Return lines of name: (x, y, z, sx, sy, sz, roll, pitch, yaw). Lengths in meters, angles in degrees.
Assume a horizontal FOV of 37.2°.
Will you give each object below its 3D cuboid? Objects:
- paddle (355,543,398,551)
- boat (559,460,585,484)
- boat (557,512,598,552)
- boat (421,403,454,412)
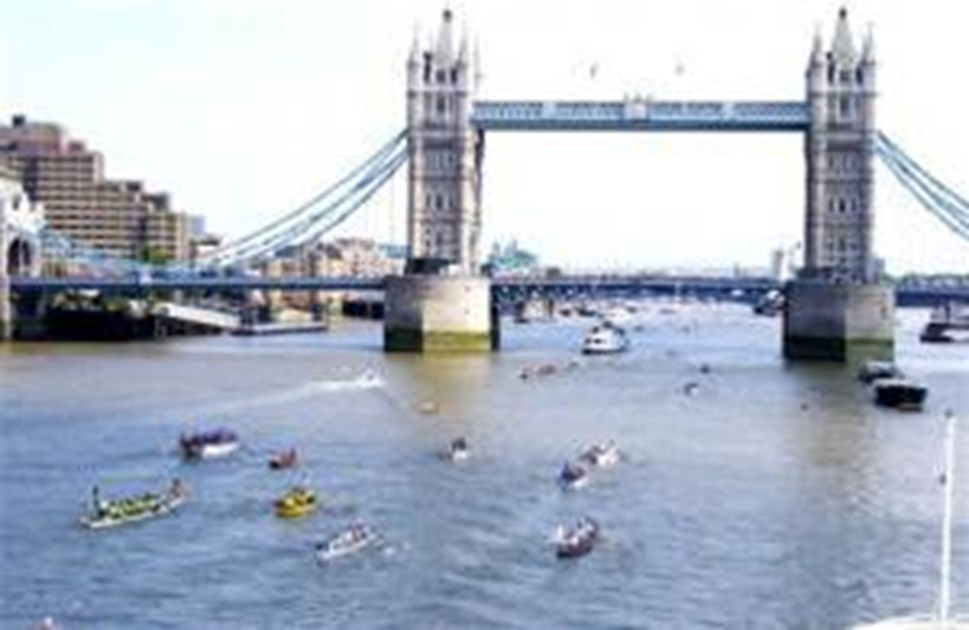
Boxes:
paddle: (-7.999, 17.602, 109.681, 2.863, 0.517, 0.954, 0, 0, 3)
boat: (7.575, 13.263, 121.325, 1.557, 1.422, 4.400, -1, -3, 6)
boat: (7.300, 16.767, 110.510, 2.049, 2.875, 4.149, 0, 0, 30)
boat: (-4.508, 9.260, 142.697, 2.211, 0.761, 4.224, 0, 0, 30)
